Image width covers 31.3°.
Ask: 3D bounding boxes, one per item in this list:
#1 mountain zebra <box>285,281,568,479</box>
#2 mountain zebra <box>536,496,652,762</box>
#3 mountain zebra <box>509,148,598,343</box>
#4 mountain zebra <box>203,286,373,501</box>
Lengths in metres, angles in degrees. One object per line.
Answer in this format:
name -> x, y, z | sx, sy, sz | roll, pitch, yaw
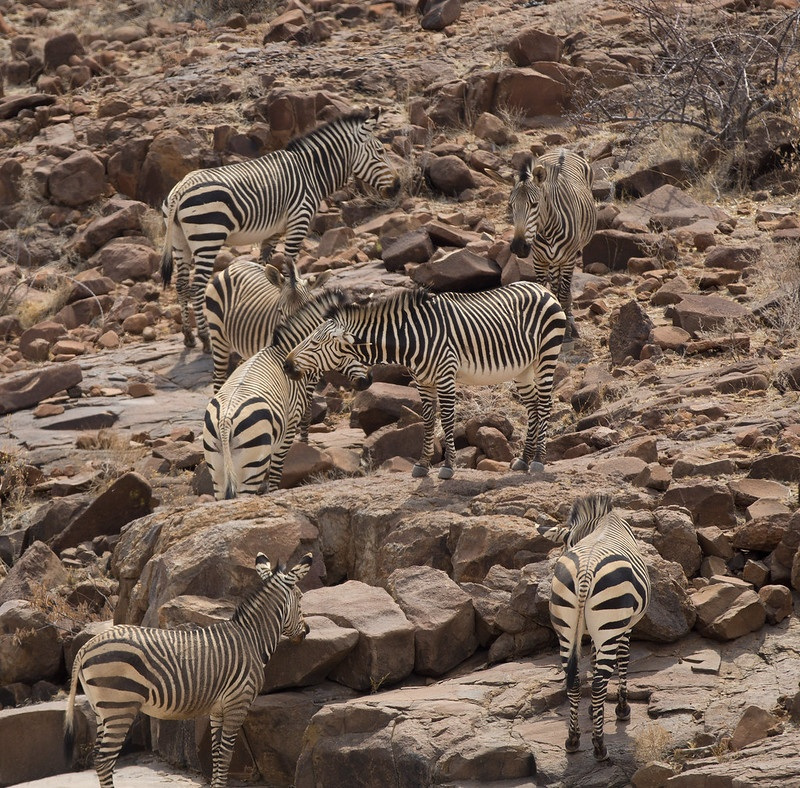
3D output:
mountain zebra -> 0.290, -0.133, 11.128 | 2.150, 1.803, 0.672 | -6, 27, -10
mountain zebra -> 1.312, 1.393, 9.179 | 0.503, 1.555, 1.785 | -1, 5, 13
mountain zebra -> 1.627, -1.596, 14.380 | 0.592, 1.851, 2.257 | 0, 16, 25
mountain zebra -> -0.785, -0.110, 11.838 | 0.560, 1.716, 2.460 | 8, 5, 30
